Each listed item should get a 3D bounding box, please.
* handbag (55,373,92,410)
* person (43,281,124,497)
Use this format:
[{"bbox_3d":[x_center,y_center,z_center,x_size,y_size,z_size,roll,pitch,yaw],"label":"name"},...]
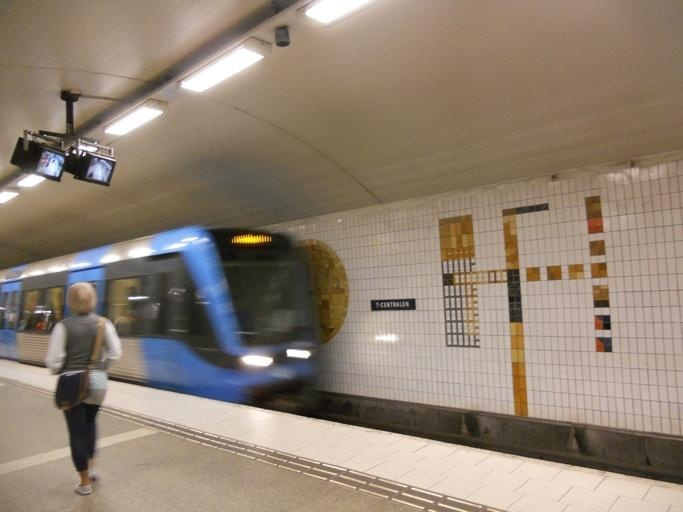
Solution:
[{"bbox_3d":[-2.598,1.284,4.667,0.324,0.345,0.116,6,1,-6],"label":"handbag"},{"bbox_3d":[-2.564,1.317,4.831,0.388,2.081,0.579,-2,1,26],"label":"person"}]
